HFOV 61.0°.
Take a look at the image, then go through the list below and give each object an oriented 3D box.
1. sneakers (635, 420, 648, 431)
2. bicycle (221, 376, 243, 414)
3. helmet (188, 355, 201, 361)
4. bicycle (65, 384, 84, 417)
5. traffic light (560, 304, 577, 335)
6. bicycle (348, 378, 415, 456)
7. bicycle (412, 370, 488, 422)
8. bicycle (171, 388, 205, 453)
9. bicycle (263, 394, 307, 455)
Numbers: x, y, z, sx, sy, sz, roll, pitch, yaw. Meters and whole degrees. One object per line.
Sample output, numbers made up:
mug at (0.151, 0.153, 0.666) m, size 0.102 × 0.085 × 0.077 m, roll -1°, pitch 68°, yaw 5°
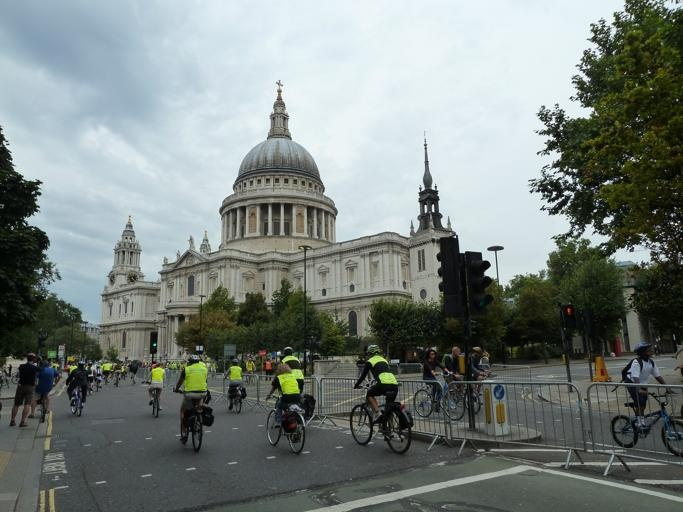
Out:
sneakers at (5.865, 3.325, 11.396) m, size 0.171 × 0.122 × 0.064 m, roll -21°, pitch -64°, yaw 22°
bicycle at (-4.131, 5.524, 22.638) m, size 0.637 × 1.112 × 1.872 m, roll 1°, pitch -14°, yaw -11°
helmet at (-3.713, 2.566, 14.537) m, size 0.210 × 0.160 × 0.432 m, roll 1°, pitch -14°, yaw -8°
bicycle at (-10.112, 5.464, 21.706) m, size 0.622 × 0.766 × 1.275 m, roll 8°, pitch -20°, yaw -32°
traffic light at (8.540, 2.261, 21.989) m, size 0.444 × 0.921 × 0.882 m, roll -6°, pitch -14°, yaw 20°
bicycle at (1.194, 4.124, 14.123) m, size 0.921 × 1.255 × 2.137 m, roll 5°, pitch -13°, yaw -27°
bicycle at (2.544, 3.584, 14.404) m, size 1.795 × 1.124 × 0.907 m, roll -11°, pitch -13°, yaw 33°
bicycle at (-3.737, 4.115, 14.539) m, size 0.620 × 1.442 × 1.605 m, roll 6°, pitch -15°, yaw -29°
bicycle at (-1.224, 4.183, 14.196) m, size 0.749 × 0.946 × 1.532 m, roll 8°, pitch -15°, yaw -24°
